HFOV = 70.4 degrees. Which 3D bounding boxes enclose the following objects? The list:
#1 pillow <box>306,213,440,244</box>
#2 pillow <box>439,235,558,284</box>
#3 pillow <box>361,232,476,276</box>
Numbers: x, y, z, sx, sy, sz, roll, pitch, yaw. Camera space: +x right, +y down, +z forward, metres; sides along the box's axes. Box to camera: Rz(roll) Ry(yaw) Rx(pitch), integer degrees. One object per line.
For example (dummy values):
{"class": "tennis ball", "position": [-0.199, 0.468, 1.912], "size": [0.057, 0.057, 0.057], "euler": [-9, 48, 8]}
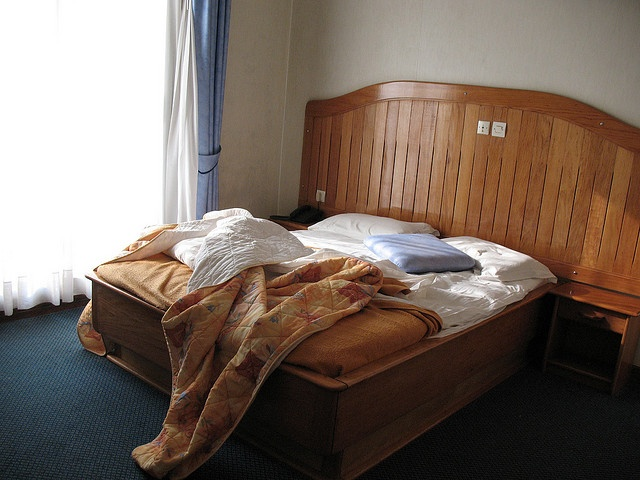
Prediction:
{"class": "pillow", "position": [0.356, -0.114, 3.646], "size": [0.489, 0.115, 0.448], "euler": [15, 18, 38]}
{"class": "pillow", "position": [1.143, 0.105, 3.042], "size": [0.349, 0.107, 0.446], "euler": [-9, 27, -37]}
{"class": "pillow", "position": [0.639, 0.080, 2.902], "size": [0.347, 0.095, 0.401], "euler": [-2, 16, -21]}
